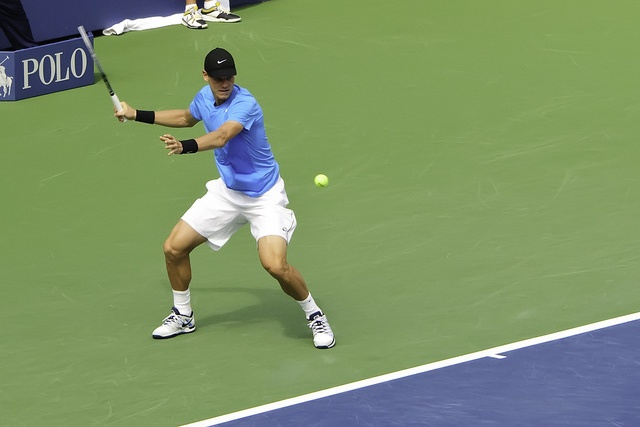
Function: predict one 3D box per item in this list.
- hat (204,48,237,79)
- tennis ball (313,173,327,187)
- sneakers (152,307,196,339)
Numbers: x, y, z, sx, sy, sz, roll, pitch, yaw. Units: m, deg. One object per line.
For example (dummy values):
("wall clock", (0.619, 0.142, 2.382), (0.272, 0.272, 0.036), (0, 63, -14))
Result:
("hat", (-1.001, -1.518, 6.502), (0.308, 0.207, 0.403), (-14, 44, -21))
("tennis ball", (0.036, -0.448, 8.512), (0.197, 0.188, 0.178), (-16, 80, -6))
("sneakers", (-1.562, 1.148, 7.023), (0.217, 0.277, 0.521), (6, 8, 36))
